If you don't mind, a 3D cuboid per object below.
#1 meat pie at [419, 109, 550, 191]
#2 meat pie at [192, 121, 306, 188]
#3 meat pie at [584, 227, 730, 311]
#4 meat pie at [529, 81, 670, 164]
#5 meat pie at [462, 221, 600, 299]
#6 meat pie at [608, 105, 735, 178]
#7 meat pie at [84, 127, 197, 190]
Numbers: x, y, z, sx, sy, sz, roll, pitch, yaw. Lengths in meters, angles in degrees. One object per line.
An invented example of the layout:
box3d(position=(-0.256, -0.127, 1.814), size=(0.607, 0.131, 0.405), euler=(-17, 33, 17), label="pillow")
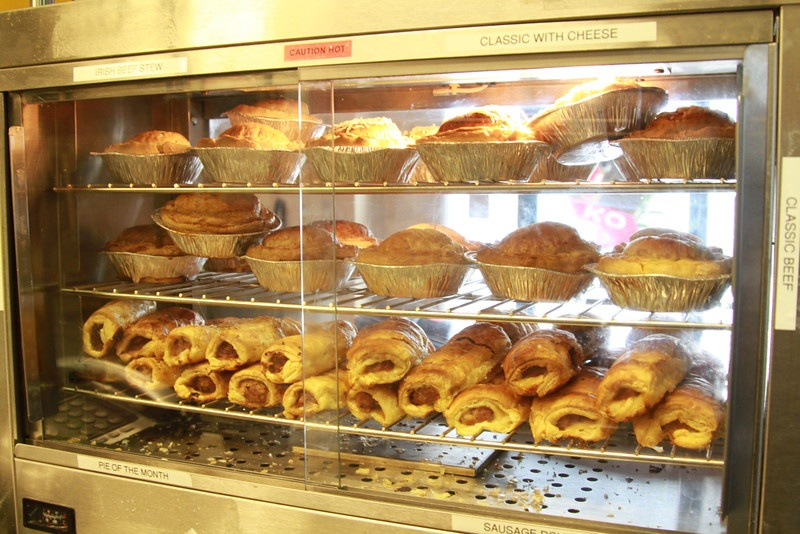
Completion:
box3d(position=(0.309, -0.456, 2.201), size=(0.493, 0.272, 0.103), euler=(3, 1, 7), label="meat pie")
box3d(position=(-0.609, -0.457, 2.470), size=(0.384, 0.147, 0.312), euler=(3, 7, 23), label="meat pie")
box3d(position=(0.906, 0.019, 2.022), size=(0.360, 0.148, 0.329), euler=(-2, 5, 21), label="meat pie")
box3d(position=(0.763, -0.555, 2.241), size=(0.563, 0.164, 0.494), euler=(-2, 2, 3), label="meat pie")
box3d(position=(0.510, -0.018, 2.179), size=(0.348, 0.170, 0.370), euler=(-1, -2, -25), label="meat pie")
box3d(position=(0.948, -0.414, 2.025), size=(0.340, 0.136, 0.250), euler=(-1, 4, 28), label="meat pie")
box3d(position=(-1.099, -0.465, 2.549), size=(0.358, 0.135, 0.320), euler=(-2, 11, 0), label="meat pie")
